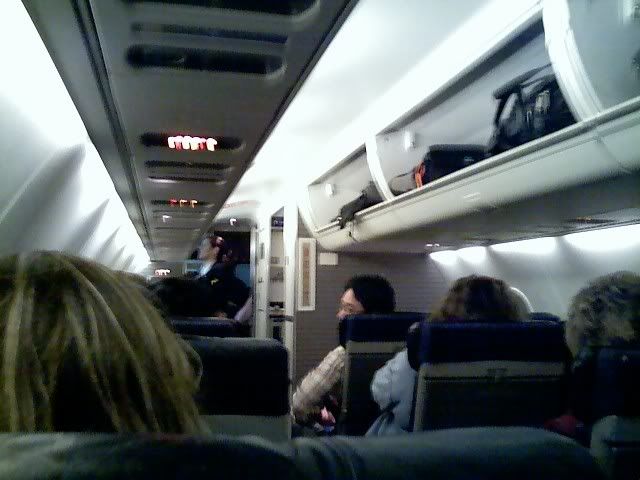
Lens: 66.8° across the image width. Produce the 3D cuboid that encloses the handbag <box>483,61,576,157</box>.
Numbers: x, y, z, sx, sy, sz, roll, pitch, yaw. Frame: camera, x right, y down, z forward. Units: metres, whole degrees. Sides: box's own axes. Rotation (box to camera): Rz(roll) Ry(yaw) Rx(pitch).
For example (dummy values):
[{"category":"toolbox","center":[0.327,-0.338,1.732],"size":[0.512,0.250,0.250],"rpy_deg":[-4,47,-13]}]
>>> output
[{"category":"handbag","center":[1.101,-0.696,2.581],"size":[0.217,0.465,0.650],"rpy_deg":[4,-2,-13]}]

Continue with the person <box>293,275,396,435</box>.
[{"category":"person","center":[0.285,0.610,2.577],"size":[0.495,0.764,0.513],"rpy_deg":[5,23,11]}]

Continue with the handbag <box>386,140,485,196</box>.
[{"category":"handbag","center":[0.791,-0.513,3.387],"size":[0.286,0.181,0.497],"rpy_deg":[-11,-16,-37]}]
